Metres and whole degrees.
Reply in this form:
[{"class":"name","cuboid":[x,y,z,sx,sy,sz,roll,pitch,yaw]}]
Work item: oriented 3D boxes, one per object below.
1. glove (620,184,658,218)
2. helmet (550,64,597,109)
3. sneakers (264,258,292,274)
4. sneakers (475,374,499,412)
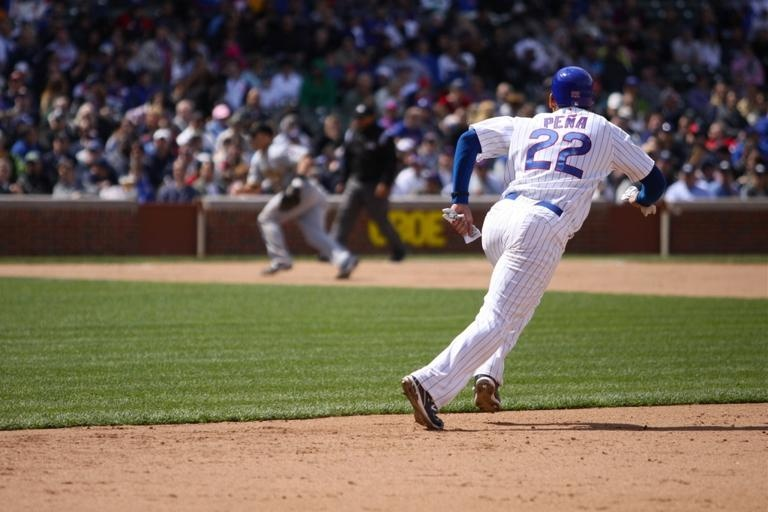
[{"class":"glove","cuboid":[2.545,-0.547,14.083,0.366,0.269,0.164,29,1,-2]},{"class":"helmet","cuboid":[1.852,-1.688,14.001,0.341,0.409,0.440,3,27,4]},{"class":"sneakers","cuboid":[-1.327,0.127,18.021,0.295,0.115,0.182,-8,10,-42]},{"class":"sneakers","cuboid":[1.013,1.346,13.915,0.185,0.395,0.205,-11,32,16]}]
